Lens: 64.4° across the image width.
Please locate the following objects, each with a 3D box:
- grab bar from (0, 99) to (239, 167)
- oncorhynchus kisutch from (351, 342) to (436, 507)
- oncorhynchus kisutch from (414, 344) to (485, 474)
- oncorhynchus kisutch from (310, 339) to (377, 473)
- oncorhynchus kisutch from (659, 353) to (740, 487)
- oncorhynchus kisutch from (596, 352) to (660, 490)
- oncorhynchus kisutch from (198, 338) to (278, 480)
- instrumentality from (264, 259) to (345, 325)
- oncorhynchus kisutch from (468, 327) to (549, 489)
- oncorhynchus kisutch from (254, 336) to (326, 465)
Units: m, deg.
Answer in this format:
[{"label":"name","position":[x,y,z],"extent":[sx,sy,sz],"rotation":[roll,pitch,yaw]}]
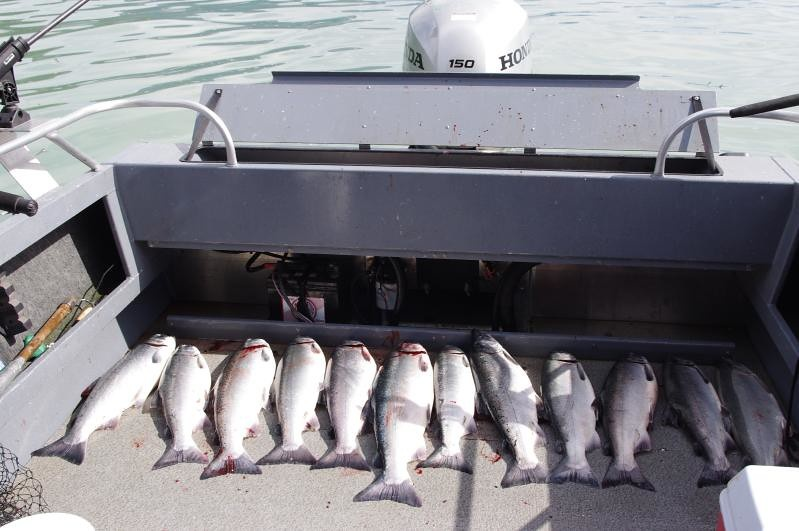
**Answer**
[{"label":"grab bar","position":[-1.362,-0.630,3.097],"extent":[1.033,0.357,0.338],"rotation":[-10,15,-28]},{"label":"oncorhynchus kisutch","position":[0.010,0.762,3.134],"extent":[0.288,0.195,0.988],"rotation":[11,35,3]},{"label":"oncorhynchus kisutch","position":[0.283,0.714,3.134],"extent":[0.337,0.217,0.893],"rotation":[-1,42,7]},{"label":"oncorhynchus kisutch","position":[-0.258,0.677,3.193],"extent":[0.242,0.178,0.747],"rotation":[3,47,-1]},{"label":"oncorhynchus kisutch","position":[1.448,0.713,3.119],"extent":[0.244,0.766,0.135],"rotation":[-21,6,14]},{"label":"oncorhynchus kisutch","position":[1.125,0.743,3.114],"extent":[0.254,0.147,0.750],"rotation":[5,50,21]},{"label":"oncorhynchus kisutch","position":[-0.797,0.690,3.203],"extent":[0.295,0.163,0.844],"rotation":[0,40,2]},{"label":"instrumentality","position":[-0.562,0.155,3.756],"extent":[0.359,0.396,0.241],"rotation":[0,32,-12]},{"label":"oncorhynchus kisutch","position":[0.552,0.692,3.199],"extent":[0.282,0.952,0.176],"rotation":[-17,14,4]},{"label":"oncorhynchus kisutch","position":[-0.525,0.667,3.214],"extent":[0.251,0.187,0.775],"rotation":[7,37,-10]}]
